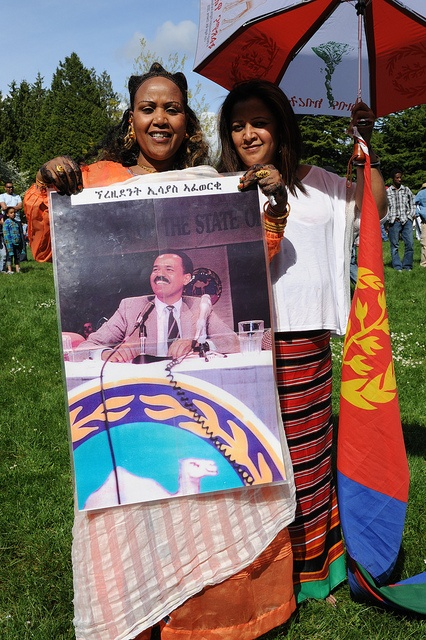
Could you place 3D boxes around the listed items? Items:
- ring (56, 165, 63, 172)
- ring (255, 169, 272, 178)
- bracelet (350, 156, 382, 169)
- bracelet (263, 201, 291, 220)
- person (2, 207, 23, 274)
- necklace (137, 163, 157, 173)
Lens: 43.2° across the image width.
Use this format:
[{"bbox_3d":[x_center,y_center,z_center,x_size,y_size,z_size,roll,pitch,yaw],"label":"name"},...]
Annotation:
[{"bbox_3d":[-0.501,-0.493,1.747,0.019,0.018,0.005,-11,3,24],"label":"ring"},{"bbox_3d":[0.171,-0.504,1.853,0.052,0.032,0.019,-4,8,5],"label":"ring"},{"bbox_3d":[0.635,-0.658,2.248,0.096,0.022,0.093,0,2,6],"label":"bracelet"},{"bbox_3d":[0.232,-0.401,1.946,0.075,0.065,0.028,0,-22,-5],"label":"bracelet"},{"bbox_3d":[-4.592,-1.839,12.272,0.397,1.488,1.031,-8,9,-18],"label":"person"},{"bbox_3d":[-0.263,-0.595,2.122,0.065,0.016,0.055,21,6,-8],"label":"necklace"}]
